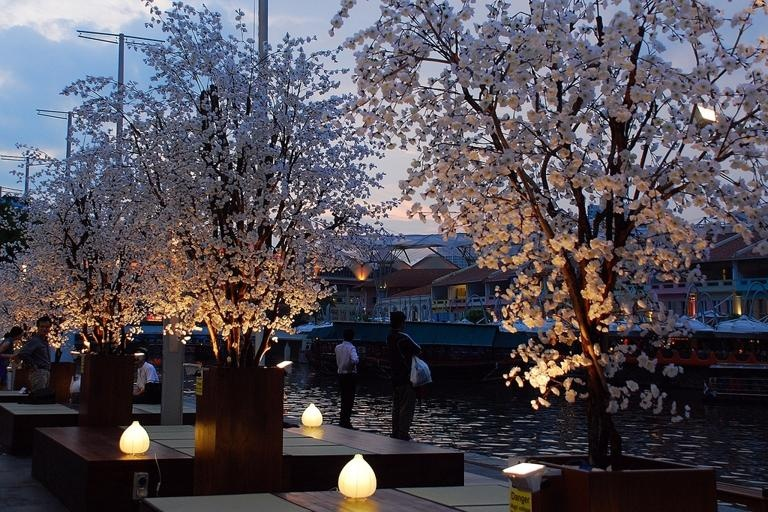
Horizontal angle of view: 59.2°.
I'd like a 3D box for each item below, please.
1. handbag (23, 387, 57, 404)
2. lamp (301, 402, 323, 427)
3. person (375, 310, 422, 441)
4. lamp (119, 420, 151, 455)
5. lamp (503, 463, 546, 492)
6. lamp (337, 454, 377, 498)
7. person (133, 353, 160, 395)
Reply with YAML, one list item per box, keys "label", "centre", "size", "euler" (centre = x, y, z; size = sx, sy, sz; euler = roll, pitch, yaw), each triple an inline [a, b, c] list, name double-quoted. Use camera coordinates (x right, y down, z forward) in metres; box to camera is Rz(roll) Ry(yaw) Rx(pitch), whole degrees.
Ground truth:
- label: "handbag"
  centre: [-7.362, 2.971, 14.435]
  size: [0.563, 0.300, 1.348]
  euler: [5, -8, -28]
- label: "lamp"
  centre: [-1.152, 2.555, 10.846]
  size: [0.317, 0.359, 0.424]
  euler: [2, -7, -7]
- label: "person"
  centre: [0.329, 2.119, 11.965]
  size: [0.564, 2.309, 1.267]
  euler: [1, -7, 2]
- label: "lamp"
  centre: [-3.034, 2.201, 8.207]
  size: [0.327, 0.387, 0.287]
  euler: [2, -7, -10]
- label: "lamp"
  centre: [0.985, 1.508, 4.724]
  size: [0.181, 0.190, 0.253]
  euler: [10, -17, -28]
- label: "lamp"
  centre: [-0.238, 2.013, 6.212]
  size: [0.352, 0.360, 0.367]
  euler: [4, 0, 28]
- label: "person"
  centre: [-5.615, 2.727, 15.532]
  size: [0.692, 0.959, 0.729]
  euler: [-7, -5, 11]
